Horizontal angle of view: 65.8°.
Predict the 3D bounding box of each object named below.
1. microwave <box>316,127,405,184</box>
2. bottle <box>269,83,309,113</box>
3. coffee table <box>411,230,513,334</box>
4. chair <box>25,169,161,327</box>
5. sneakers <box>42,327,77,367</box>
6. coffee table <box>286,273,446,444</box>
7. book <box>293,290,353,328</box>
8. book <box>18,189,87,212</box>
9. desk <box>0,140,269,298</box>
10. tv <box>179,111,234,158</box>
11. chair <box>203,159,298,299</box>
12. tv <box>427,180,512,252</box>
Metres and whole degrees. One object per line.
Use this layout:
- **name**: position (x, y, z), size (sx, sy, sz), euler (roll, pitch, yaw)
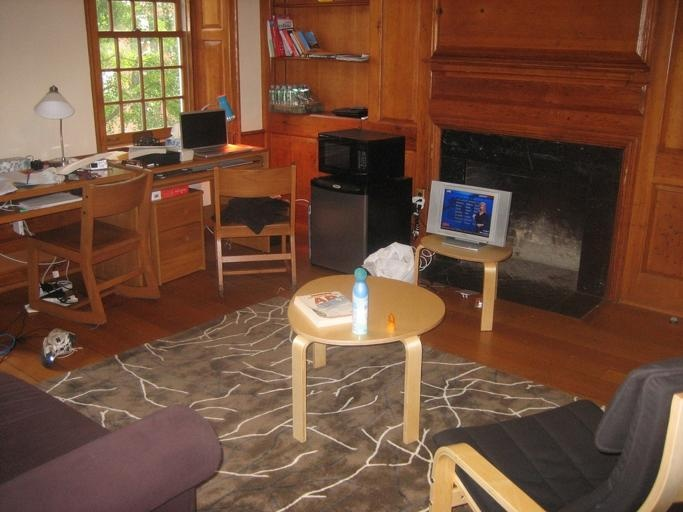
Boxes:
- **microwave**: position (0.250, -0.873, 4.627), size (0.635, 0.401, 0.831), euler (-10, 21, -22)
- **bottle**: position (-0.549, -1.674, 5.608), size (0.369, 0.211, 0.190), euler (10, 30, 25)
- **coffee table**: position (0.906, 0.138, 3.823), size (0.584, 0.469, 0.712), euler (-18, 27, -39)
- **chair**: position (-1.724, -0.058, 3.720), size (0.851, 1.005, 0.685), euler (23, 31, 18)
- **sneakers**: position (-1.733, 0.560, 3.203), size (0.177, 0.122, 0.279), euler (1, 28, 7)
- **coffee table**: position (0.061, 0.637, 2.731), size (0.850, 0.495, 0.772), euler (-3, -9, -4)
- **book**: position (-0.074, 0.231, 2.658), size (0.213, 0.279, 0.044), euler (-21, 43, 16)
- **book**: position (-2.005, -0.376, 3.591), size (0.385, 0.041, 0.367), euler (-14, 23, -37)
- **desk**: position (-1.598, -0.252, 3.971), size (1.391, 0.433, 0.421), euler (-22, 38, -38)
- **tv**: position (-1.037, -1.067, 4.563), size (0.463, 0.350, 0.587), euler (15, 25, 33)
- **chair**: position (-0.703, -0.315, 4.329), size (0.709, 0.956, 1.029), euler (-4, 20, -12)
- **tv**: position (0.814, -0.296, 3.821), size (0.681, 0.406, 0.293), euler (7, -2, -27)
